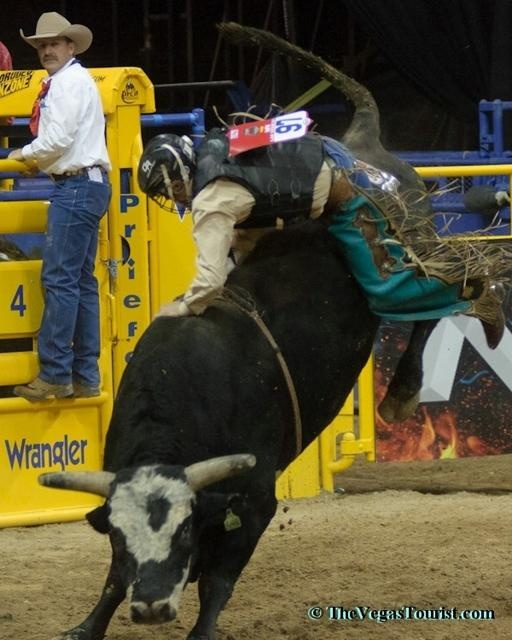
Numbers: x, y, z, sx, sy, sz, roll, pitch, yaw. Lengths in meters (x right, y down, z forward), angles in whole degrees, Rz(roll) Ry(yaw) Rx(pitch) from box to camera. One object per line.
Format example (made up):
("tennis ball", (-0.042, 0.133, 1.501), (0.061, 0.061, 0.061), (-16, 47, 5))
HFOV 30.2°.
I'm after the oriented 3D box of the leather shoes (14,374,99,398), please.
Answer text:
("leather shoes", (-1.064, 0.364, 5.110), (0.445, 0.141, 0.142), (3, 4, -20))
